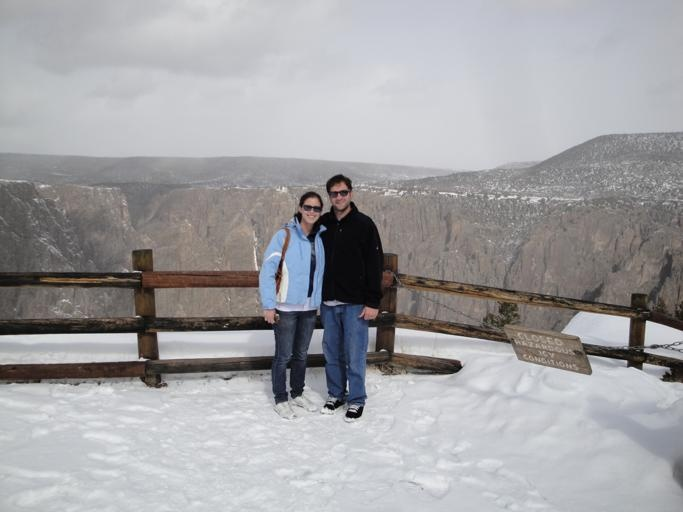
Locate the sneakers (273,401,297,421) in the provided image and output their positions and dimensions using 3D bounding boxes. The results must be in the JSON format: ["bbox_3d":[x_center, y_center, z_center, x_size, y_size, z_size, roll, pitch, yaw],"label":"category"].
[{"bbox_3d":[-0.633,1.728,7.033,0.142,0.097,0.248,-16,24,-40],"label":"sneakers"}]

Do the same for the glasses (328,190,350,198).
[{"bbox_3d":[-0.022,-0.672,6.795,0.233,0.079,0.081,0,6,0],"label":"glasses"}]

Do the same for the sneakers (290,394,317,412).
[{"bbox_3d":[-0.424,1.702,7.236,0.302,0.140,0.134,11,19,28],"label":"sneakers"}]

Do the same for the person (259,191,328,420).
[{"bbox_3d":[-0.538,0.549,6.921,0.719,2.503,0.505,-1,6,-7],"label":"person"}]

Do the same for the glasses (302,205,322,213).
[{"bbox_3d":[-0.294,-0.506,6.801,0.134,0.083,0.253,5,8,41],"label":"glasses"}]
